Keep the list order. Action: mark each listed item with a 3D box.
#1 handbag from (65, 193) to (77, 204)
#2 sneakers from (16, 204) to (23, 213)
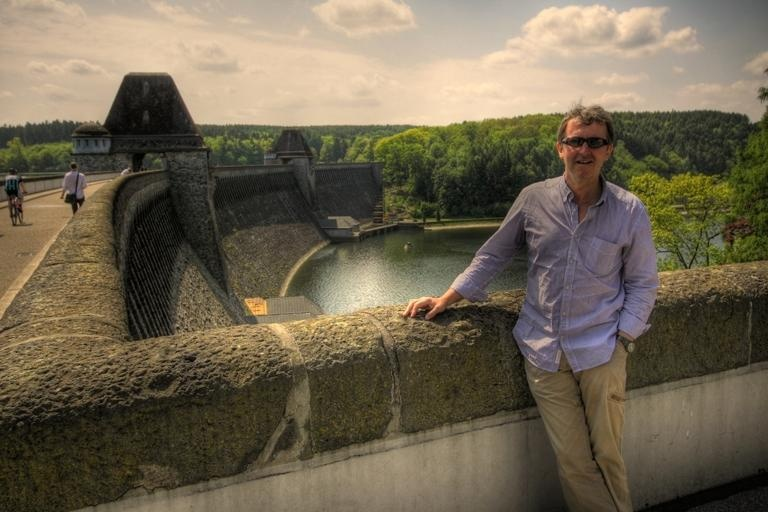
[{"bbox_3d":[-8.558,-1.601,14.189,0.404,0.288,0.228,6,13,16],"label":"handbag"},{"bbox_3d":[-9.388,-1.256,13.334,0.091,0.182,0.239,-9,14,-34],"label":"sneakers"}]
